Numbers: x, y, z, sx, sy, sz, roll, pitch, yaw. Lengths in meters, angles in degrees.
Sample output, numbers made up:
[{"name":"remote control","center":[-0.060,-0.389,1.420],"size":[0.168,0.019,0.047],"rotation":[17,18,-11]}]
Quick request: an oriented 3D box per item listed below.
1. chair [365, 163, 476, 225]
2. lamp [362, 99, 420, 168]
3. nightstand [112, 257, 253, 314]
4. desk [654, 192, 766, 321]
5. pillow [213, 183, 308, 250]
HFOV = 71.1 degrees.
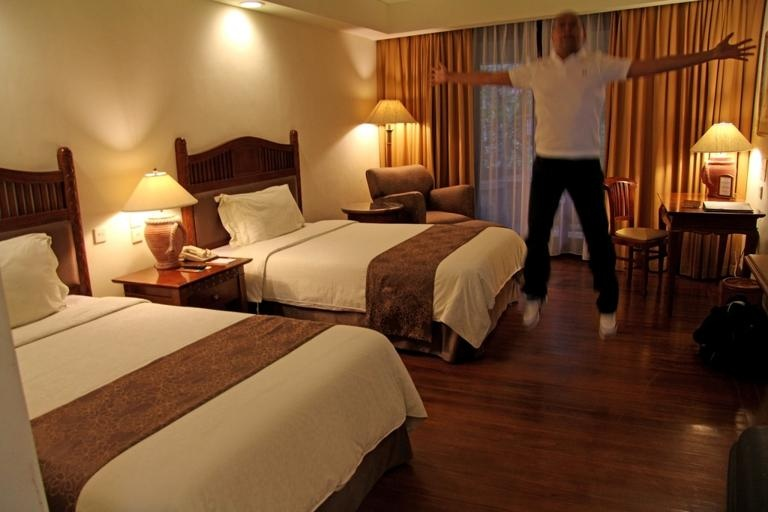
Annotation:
[{"name":"chair","center":[0.491,-0.830,6.828],"size":[1.006,1.041,0.897],"rotation":[5,11,44]},{"name":"lamp","center":[0.066,-1.663,7.394],"size":[0.816,1.390,0.834],"rotation":[-2,11,-5]},{"name":"nightstand","center":[-1.603,0.205,4.413],"size":[0.516,0.622,0.645],"rotation":[3,12,16]},{"name":"desk","center":[3.113,0.001,5.118],"size":[0.480,0.621,1.233],"rotation":[2,7,17]},{"name":"pillow","center":[-1.272,-0.487,5.386],"size":[0.517,0.469,1.160],"rotation":[30,28,25]}]
